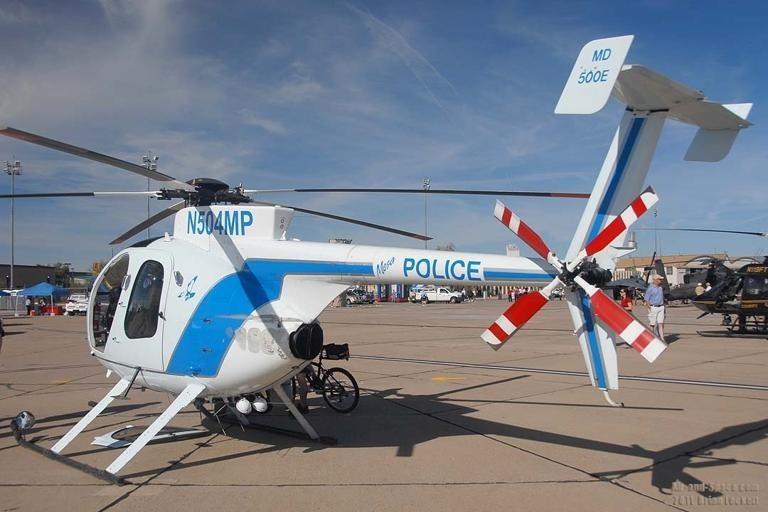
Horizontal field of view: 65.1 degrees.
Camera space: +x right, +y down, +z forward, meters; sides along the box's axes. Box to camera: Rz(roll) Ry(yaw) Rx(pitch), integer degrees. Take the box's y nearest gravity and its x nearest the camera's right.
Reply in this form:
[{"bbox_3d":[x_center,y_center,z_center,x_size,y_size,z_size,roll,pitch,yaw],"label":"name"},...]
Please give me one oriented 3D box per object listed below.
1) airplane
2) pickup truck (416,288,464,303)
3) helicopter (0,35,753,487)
[{"bbox_3d":[18.753,1.574,40.457,7.851,1.675,4.989,1,1,-4],"label":"airplane"},{"bbox_3d":[5.617,3.948,59.610,3.795,0.970,1.797,-2,1,11],"label":"pickup truck"},{"bbox_3d":[-0.409,-0.087,10.652,10.165,3.522,8.416,5,0,34],"label":"helicopter"}]
